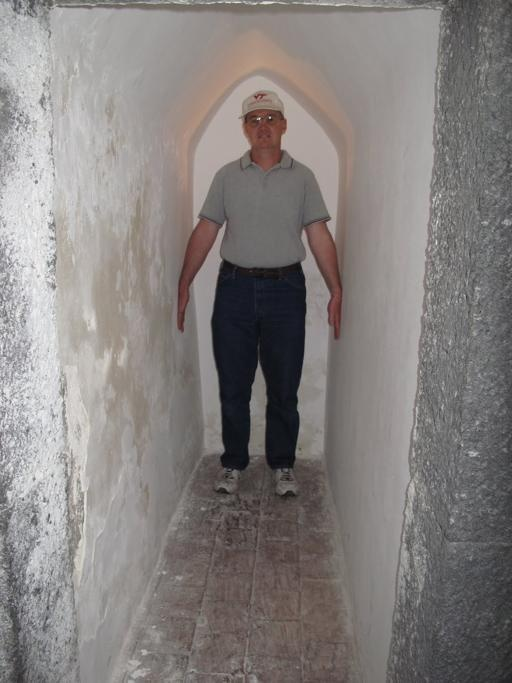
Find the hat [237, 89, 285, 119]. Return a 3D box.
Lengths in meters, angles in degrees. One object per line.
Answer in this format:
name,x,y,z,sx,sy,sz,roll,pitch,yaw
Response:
hat,0.030,-1.024,2.513,0.133,0.121,0.232,0,32,11

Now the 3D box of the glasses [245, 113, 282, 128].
glasses,0.028,-0.922,2.436,0.150,0.059,0.065,2,9,8
